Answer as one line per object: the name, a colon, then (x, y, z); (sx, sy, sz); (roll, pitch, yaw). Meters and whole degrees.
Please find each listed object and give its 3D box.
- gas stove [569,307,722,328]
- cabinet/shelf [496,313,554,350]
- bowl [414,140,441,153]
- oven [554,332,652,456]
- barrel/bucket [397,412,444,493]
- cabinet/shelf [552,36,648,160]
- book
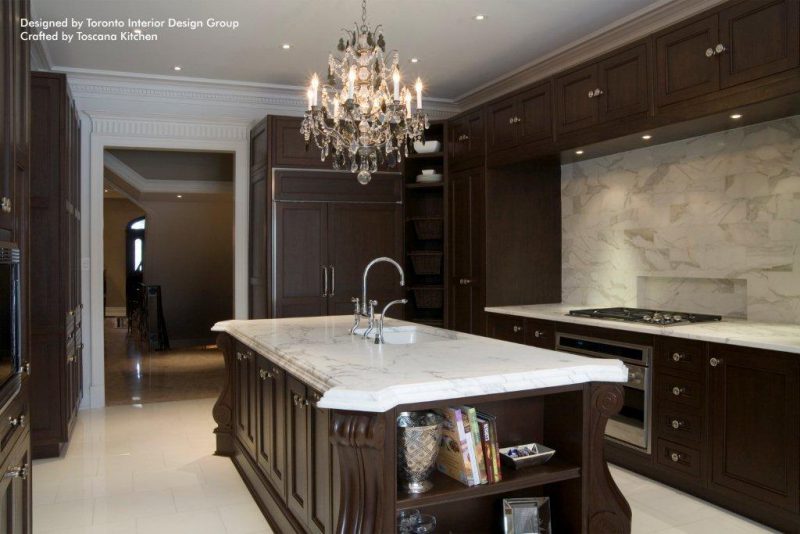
gas stove: (2.074, 0.401, 4.729); (0.810, 0.067, 1.139); (-4, 6, -40)
cabinet/shelf: (1.199, 0.720, 5.295); (0.222, 0.370, 0.630); (3, -3, -24)
bowl: (0.326, -1.400, 6.453); (0.217, 0.095, 0.158); (-1, 1, 0)
oven: (1.841, 0.993, 4.771); (0.913, 1.055, 0.580); (3, 14, 41)
barrel/bucket: (0.071, 0.977, 2.960); (0.329, 0.394, 0.361); (0, -7, 0)
cabinet/shelf: (1.729, -1.434, 4.685); (0.560, 0.721, 1.019); (1, -3, -29)
book: (0.343, 0.874, 3.142); (0.324, 0.531, 0.541); (0, -2, -15)
